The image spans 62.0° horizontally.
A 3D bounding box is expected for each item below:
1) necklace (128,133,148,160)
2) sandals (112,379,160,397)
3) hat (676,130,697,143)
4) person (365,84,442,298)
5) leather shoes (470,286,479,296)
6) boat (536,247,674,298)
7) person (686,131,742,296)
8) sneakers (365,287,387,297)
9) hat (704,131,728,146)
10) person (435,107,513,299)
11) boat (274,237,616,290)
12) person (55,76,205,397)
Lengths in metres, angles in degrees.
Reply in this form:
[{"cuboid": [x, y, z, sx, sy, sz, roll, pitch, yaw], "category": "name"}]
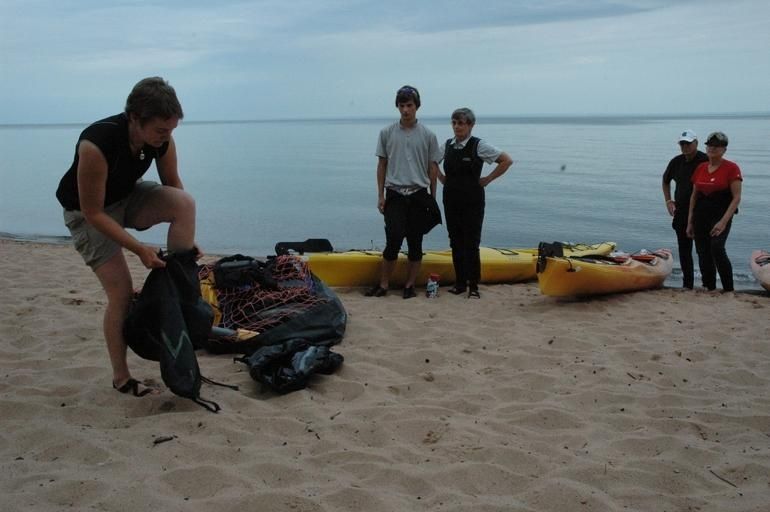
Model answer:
[{"cuboid": [-1.996, -0.872, 5.165, 0.127, 0.152, 0.060, -7, 5, -29], "category": "necklace"}, {"cuboid": [-2.155, 1.117, 5.536, 0.426, 0.094, 0.155, 9, 19, 20], "category": "sandals"}, {"cuboid": [4.248, -1.690, 9.041, 0.187, 0.140, 0.282, 1, 7, 40], "category": "hat"}, {"cuboid": [0.257, -0.833, 8.586, 0.970, 2.803, 0.781, -3, 12, -4], "category": "person"}, {"cuboid": [1.186, 0.465, 8.649, 0.126, 0.126, 0.346, -2, -2, 9], "category": "leather shoes"}, {"cuboid": [3.127, 0.206, 8.746, 2.367, 0.452, 0.766, -5, 8, -42], "category": "boat"}, {"cuboid": [4.462, -0.458, 8.799, 0.692, 1.906, 0.506, 8, 15, 38], "category": "person"}, {"cuboid": [-0.125, 0.490, 8.804, 0.265, 0.089, 0.124, 1, 2, -6], "category": "sneakers"}, {"cuboid": [4.408, -1.544, 8.518, 0.231, 0.158, 0.325, 8, 3, 41], "category": "hat"}, {"cuboid": [1.145, -0.696, 8.598, 0.849, 2.512, 0.786, -1, 11, 4], "category": "person"}, {"cuboid": [0.850, 0.120, 9.218, 4.545, 0.572, 0.872, 1, 3, -28], "category": "boat"}, {"cuboid": [-2.082, -0.116, 5.300, 1.035, 2.633, 0.745, -7, 13, -23], "category": "person"}]
